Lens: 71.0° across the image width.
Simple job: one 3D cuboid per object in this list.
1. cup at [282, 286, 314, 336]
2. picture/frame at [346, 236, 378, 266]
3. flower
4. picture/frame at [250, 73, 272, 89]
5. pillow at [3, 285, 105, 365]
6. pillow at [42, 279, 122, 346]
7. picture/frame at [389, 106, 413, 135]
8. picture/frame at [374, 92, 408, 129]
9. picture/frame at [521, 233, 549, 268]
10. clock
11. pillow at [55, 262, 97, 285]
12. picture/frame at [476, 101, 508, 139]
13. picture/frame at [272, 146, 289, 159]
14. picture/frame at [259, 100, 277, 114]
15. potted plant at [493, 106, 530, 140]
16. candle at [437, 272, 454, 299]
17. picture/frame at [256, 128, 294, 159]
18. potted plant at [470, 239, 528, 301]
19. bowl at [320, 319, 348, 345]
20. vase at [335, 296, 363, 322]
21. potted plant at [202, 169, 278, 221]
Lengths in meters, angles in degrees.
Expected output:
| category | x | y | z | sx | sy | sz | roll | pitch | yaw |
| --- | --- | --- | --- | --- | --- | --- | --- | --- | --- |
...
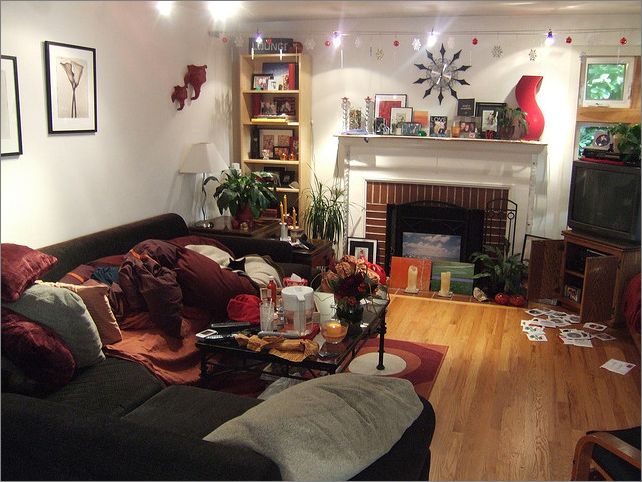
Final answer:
| category | x | y | z | sx | sy | sz | roll | pitch | yaw |
| --- | --- | --- | --- | --- | --- | --- | --- | --- | --- |
| cup | -0.138 | 0.404 | 2.656 | 0.192 | 0.256 | 0.251 | 0 | 12 | -4 |
| picture/frame | 0.455 | 0.103 | 4.958 | 0.295 | 0.326 | 0.021 | 4 | 6 | 17 |
| flower | 0.219 | 0.227 | 2.941 | 0.322 | 0.245 | 0.340 | 15 | 23 | 40 |
| picture/frame | -0.707 | -1.895 | 5.342 | 0.212 | 0.200 | 0.022 | -1 | 5 | 9 |
| pillow | -1.426 | 0.446 | 2.369 | 0.375 | 0.298 | 0.195 | 13 | 5 | 19 |
| pillow | -1.362 | 0.415 | 2.679 | 0.144 | 0.412 | 0.391 | -8 | -8 | 34 |
| picture/frame | 0.922 | -1.397 | 5.202 | 0.320 | 0.433 | 0.030 | 1 | 0 | 5 |
| picture/frame | 0.818 | -1.512 | 5.235 | 0.398 | 0.439 | 0.017 | 3 | 10 | 15 |
| picture/frame | 2.305 | 0.038 | 4.988 | 0.075 | 0.354 | 0.309 | 6 | -1 | -20 |
| clock | 1.376 | -1.918 | 5.071 | 0.654 | 0.756 | 0.099 | 1 | 6 | 9 |
| pillow | -1.613 | 0.221 | 3.000 | 0.119 | 0.048 | 0.193 | 6 | 20 | 6 |
| picture/frame | 1.871 | -1.321 | 4.940 | 0.357 | 0.477 | 0.020 | 10 | 20 | 32 |
| picture/frame | -0.500 | -1.093 | 5.558 | 0.154 | 0.143 | 0.013 | 5 | 8 | 20 |
| picture/frame | -0.653 | -1.613 | 5.460 | 0.170 | 0.187 | 0.018 | 1 | -2 | -4 |
| potted plant | 2.061 | -1.263 | 4.911 | 0.334 | 0.256 | 0.341 | 9 | 11 | 41 |
| candle | 1.367 | 0.469 | 4.953 | 0.141 | 0.252 | 0.208 | 4 | 15 | 16 |
| picture/frame | -0.561 | -1.209 | 5.569 | 0.368 | 0.337 | 0.018 | 4 | 13 | 7 |
| potted plant | 1.935 | 0.325 | 4.907 | 0.573 | 0.431 | 0.605 | 7 | 17 | 35 |
| bowl | 0.070 | 0.538 | 2.690 | 0.120 | 0.075 | 0.124 | 0 | 18 | 0 |
| vase | 0.168 | 0.433 | 2.816 | 0.149 | 0.162 | 0.155 | -2 | 15 | 7 |
| potted plant | -0.812 | -0.499 | 4.789 | 0.610 | 0.447 | 0.642 | 3 | 2 | 13 |
